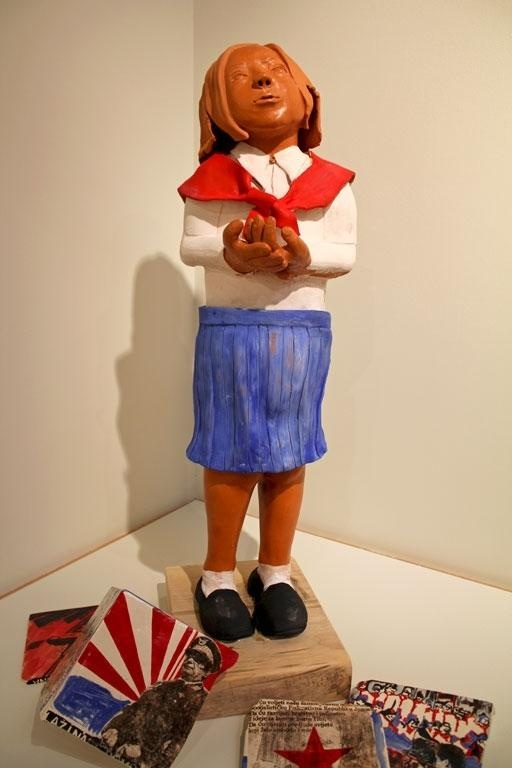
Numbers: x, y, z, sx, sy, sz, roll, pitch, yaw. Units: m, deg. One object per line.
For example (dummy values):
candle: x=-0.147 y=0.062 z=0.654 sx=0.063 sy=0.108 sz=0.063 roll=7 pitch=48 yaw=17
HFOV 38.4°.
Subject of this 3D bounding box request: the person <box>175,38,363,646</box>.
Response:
person: x=0.019 y=-0.105 z=1.879 sx=0.452 sy=1.486 sz=0.421 roll=2 pitch=15 yaw=-6
